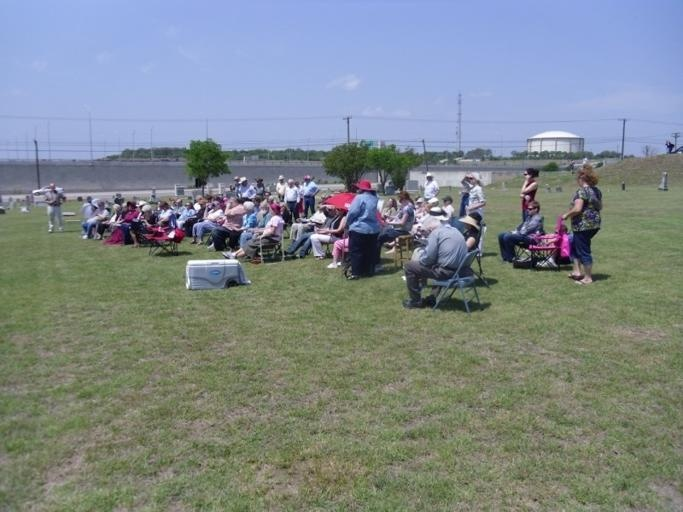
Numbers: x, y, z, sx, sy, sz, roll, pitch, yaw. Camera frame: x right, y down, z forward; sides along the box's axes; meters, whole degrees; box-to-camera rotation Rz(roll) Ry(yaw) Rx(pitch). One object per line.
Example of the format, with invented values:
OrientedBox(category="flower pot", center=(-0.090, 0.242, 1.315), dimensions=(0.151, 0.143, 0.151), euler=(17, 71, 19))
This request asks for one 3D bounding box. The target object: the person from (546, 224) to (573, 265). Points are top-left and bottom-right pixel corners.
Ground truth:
OrientedBox(category="person", center=(4.204, -0.215, 11.772), dimensions=(0.530, 0.774, 0.315), euler=(3, 8, 44))

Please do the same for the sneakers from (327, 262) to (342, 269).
OrientedBox(category="sneakers", center=(-0.144, 0.208, 12.728), dimensions=(0.320, 0.148, 0.119), euler=(2, 1, -16))

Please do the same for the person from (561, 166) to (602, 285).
OrientedBox(category="person", center=(4.121, -0.551, 10.436), dimensions=(0.577, 2.008, 0.672), euler=(1, 11, 25))

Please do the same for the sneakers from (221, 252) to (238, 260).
OrientedBox(category="sneakers", center=(-2.428, -0.018, 13.344), dimensions=(0.222, 0.180, 0.505), euler=(-5, 6, 4))

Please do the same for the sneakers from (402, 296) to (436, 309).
OrientedBox(category="sneakers", center=(1.242, 0.749, 9.683), dimensions=(0.519, 0.244, 0.208), euler=(8, 0, -21))

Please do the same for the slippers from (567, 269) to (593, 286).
OrientedBox(category="slippers", center=(4.205, 0.389, 10.728), dimensions=(0.263, 0.166, 0.597), euler=(-1, -1, -1))

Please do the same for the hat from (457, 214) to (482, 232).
OrientedBox(category="hat", center=(2.243, -0.577, 10.535), dimensions=(0.297, 0.275, 0.572), euler=(1, 7, 9))
